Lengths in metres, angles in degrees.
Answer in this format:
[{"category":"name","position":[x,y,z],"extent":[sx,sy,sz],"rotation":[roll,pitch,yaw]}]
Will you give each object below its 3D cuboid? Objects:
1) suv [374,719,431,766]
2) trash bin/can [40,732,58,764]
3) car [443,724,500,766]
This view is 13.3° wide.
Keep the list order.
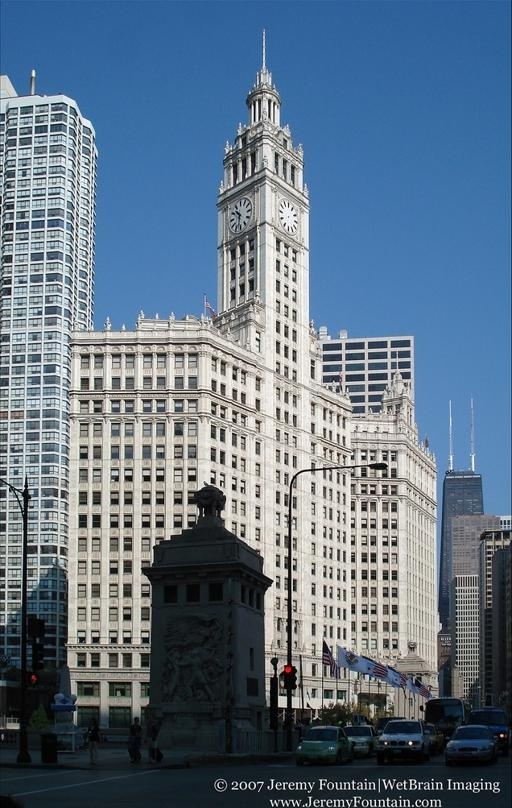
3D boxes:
[{"category":"suv","position":[7.675,17.713,115.349],"extent":[2.609,2.529,3.335],"rotation":[0,-13,3]},{"category":"trash bin/can","position":[-10.984,18.215,116.399],"extent":[1.000,2.176,1.184],"rotation":[2,-3,-14]},{"category":"car","position":[11.037,17.356,112.509],"extent":[3.214,2.272,2.207],"rotation":[12,-16,-41]}]
